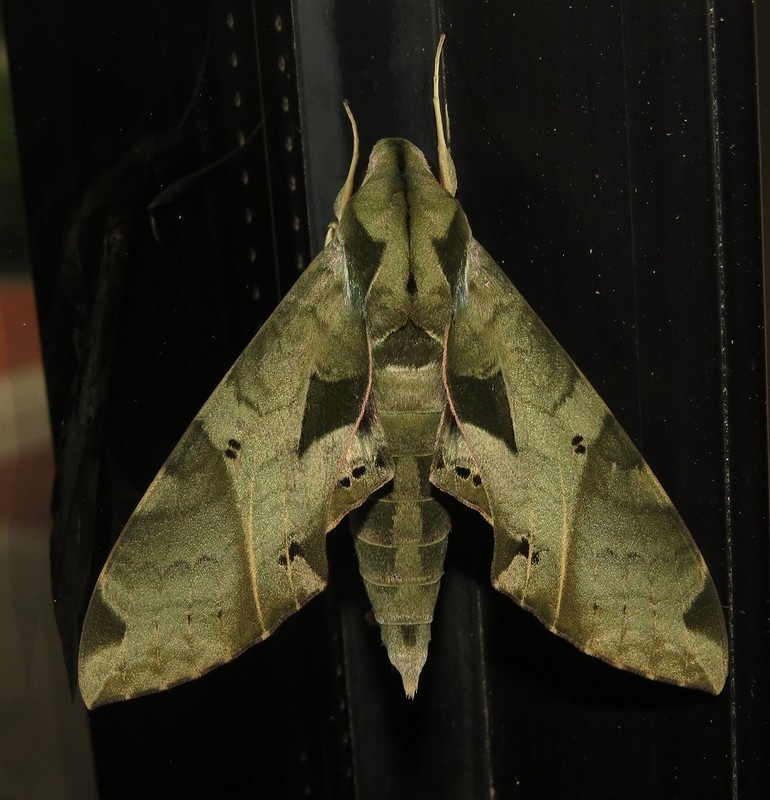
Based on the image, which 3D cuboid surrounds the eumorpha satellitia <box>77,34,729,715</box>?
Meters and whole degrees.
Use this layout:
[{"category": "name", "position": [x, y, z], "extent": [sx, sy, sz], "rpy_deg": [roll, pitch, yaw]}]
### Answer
[{"category": "eumorpha satellitia", "position": [0.030, -0.047, 1.514], "extent": [0.546, 0.924, 0.215], "rpy_deg": [-1, -2, 3]}]
